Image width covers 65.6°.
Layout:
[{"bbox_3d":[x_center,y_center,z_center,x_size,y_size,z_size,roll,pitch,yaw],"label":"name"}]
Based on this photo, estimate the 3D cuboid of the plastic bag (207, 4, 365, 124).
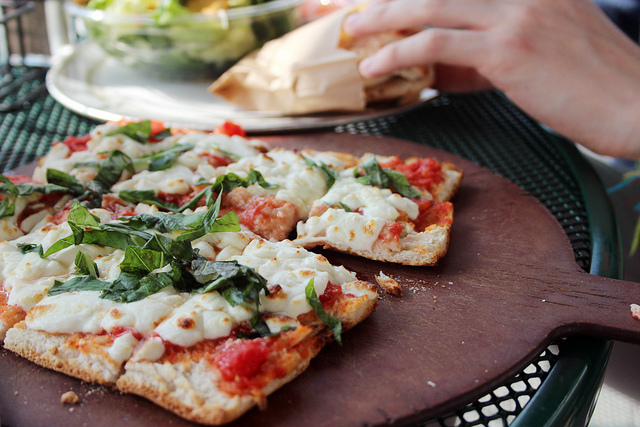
[{"bbox_3d":[-0.178,-0.756,2.705,0.779,0.357,0.504,-5,73,-4],"label":"plastic bag"}]
